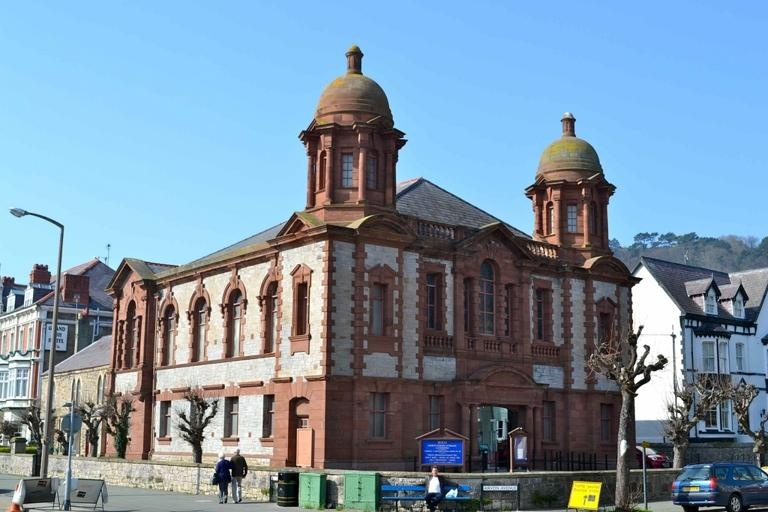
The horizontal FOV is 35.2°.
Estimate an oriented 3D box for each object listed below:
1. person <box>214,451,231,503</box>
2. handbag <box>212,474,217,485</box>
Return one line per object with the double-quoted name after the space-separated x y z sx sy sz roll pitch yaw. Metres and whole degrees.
-9.012 12.476 67.799 0.890 2.753 0.883 1 -16 -7 "person"
-9.446 12.487 67.875 0.218 0.537 1.134 2 -16 -10 "handbag"
